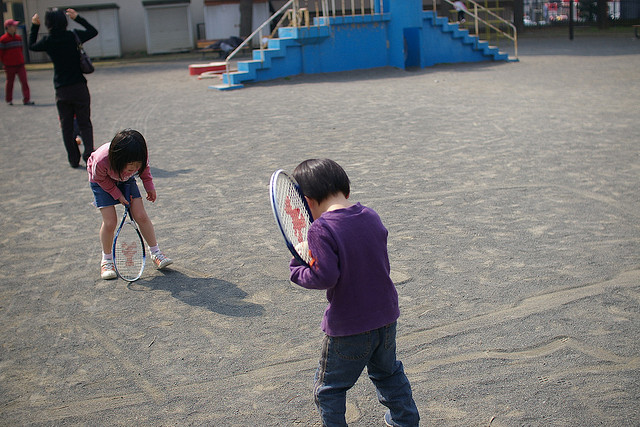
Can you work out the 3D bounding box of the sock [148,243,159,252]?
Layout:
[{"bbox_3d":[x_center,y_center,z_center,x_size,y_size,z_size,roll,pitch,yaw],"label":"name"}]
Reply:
[{"bbox_3d":[-1.903,0.382,8.191,0.106,0.080,0.150,-6,13,-15],"label":"sock"}]

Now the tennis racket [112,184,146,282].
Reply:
[{"bbox_3d":[-2.165,0.191,8.039,0.365,1.069,0.520,-6,13,-15],"label":"tennis racket"}]

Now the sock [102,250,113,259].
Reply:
[{"bbox_3d":[-2.373,0.455,8.029,0.147,0.101,0.047,1,13,14],"label":"sock"}]
